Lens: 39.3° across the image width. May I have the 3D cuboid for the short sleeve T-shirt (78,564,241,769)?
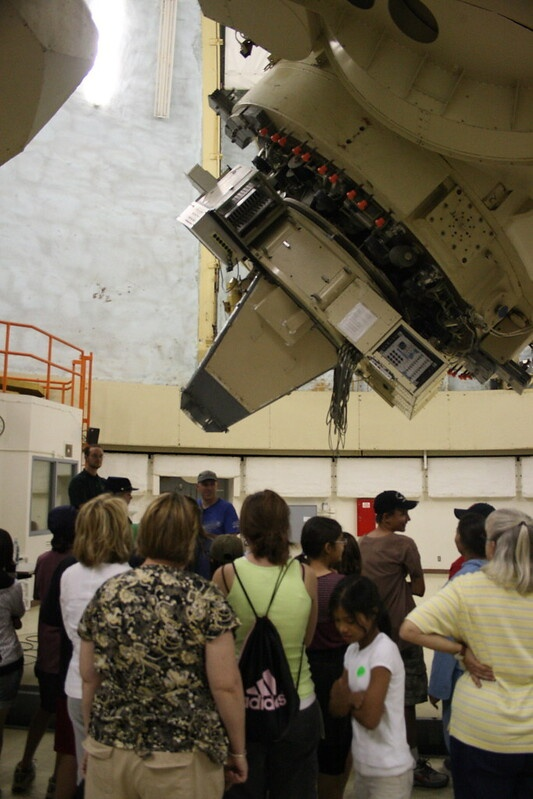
[{"bbox_3d":[-0.338,0.867,2.427,0.455,0.627,0.221,4,-6,-8],"label":"short sleeve T-shirt"}]
